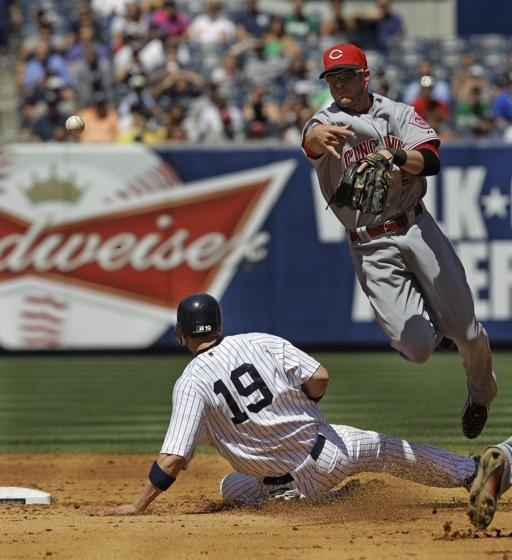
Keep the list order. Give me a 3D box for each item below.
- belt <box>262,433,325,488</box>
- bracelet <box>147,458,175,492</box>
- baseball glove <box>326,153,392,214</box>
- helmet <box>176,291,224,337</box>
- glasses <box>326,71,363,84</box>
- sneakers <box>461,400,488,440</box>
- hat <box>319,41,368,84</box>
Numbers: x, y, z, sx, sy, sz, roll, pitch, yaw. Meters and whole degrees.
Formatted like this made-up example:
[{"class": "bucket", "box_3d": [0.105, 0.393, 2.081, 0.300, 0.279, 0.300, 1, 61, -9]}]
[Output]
[{"class": "belt", "box_3d": [0.145, 0.785, 4.975, 0.275, 0.250, 0.068, 2, 40, -40]}, {"class": "bracelet", "box_3d": [-0.415, 0.856, 4.778, 0.130, 0.122, 0.107, 15, -36, -35]}, {"class": "baseball glove", "box_3d": [0.494, -0.429, 5.023, 0.143, 0.283, 0.223, 28, 5, 13]}, {"class": "helmet", "box_3d": [-0.249, 0.152, 4.880, 0.182, 0.152, 0.210, -1, 12, -9]}, {"class": "glasses", "box_3d": [0.407, -0.979, 5.265, 0.203, 0.058, 0.135, 0, 4, 22]}, {"class": "sneakers", "box_3d": [1.137, 0.741, 5.785, 0.087, 0.259, 0.107, 13, 36, 15]}, {"class": "hat", "box_3d": [0.429, -1.068, 5.301, 0.149, 0.109, 0.222, -12, -1, 29]}]
